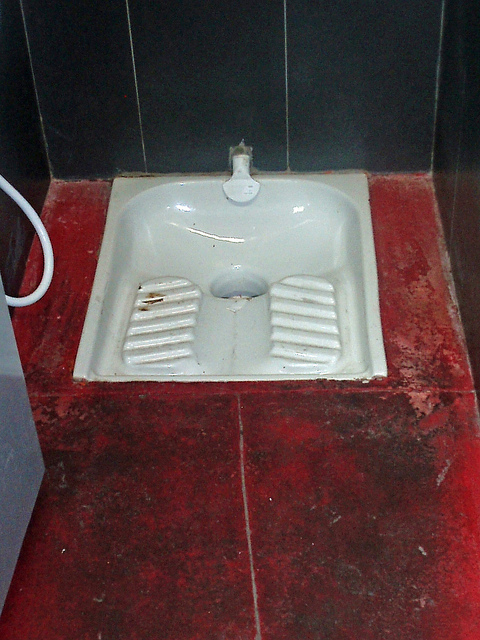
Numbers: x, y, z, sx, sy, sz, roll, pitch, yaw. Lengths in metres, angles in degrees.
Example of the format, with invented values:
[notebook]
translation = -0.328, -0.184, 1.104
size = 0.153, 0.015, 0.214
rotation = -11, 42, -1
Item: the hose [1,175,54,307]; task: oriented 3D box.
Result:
[hose]
translation = -0.330, -0.127, 0.997
size = 0.139, 0.032, 0.183
rotation = 25, -41, 58
